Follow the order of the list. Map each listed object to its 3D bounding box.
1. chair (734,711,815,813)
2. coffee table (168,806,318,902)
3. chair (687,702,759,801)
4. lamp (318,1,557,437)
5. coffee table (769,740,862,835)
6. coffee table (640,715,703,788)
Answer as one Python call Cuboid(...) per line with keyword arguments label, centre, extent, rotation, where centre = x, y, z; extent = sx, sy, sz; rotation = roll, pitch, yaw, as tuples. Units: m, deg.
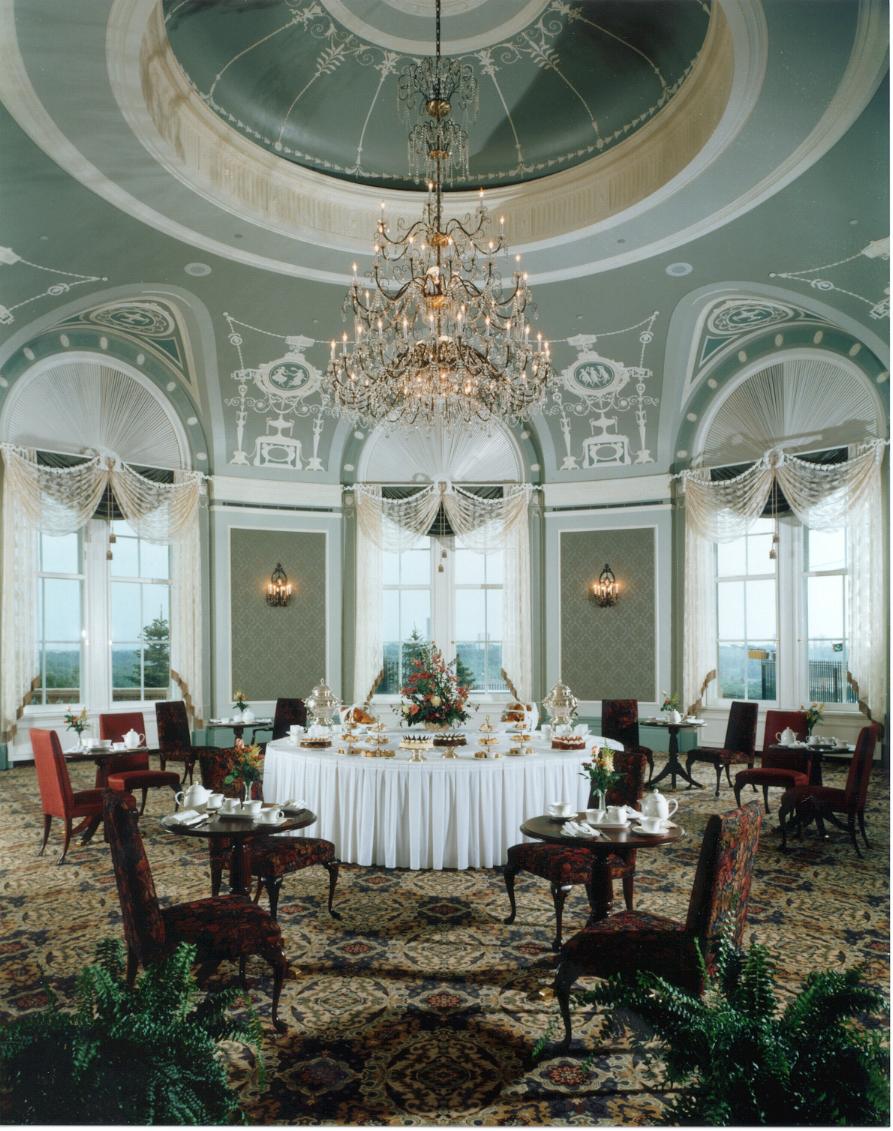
Cuboid(label="chair", centre=(2.737, 1.652, 7.061), extent=(0.583, 0.834, 0.517), rotation=(3, -5, -31))
Cuboid(label="coffee table", centre=(-0.974, 1.452, 4.140), extent=(0.614, 0.416, 0.615), rotation=(3, 5, 11))
Cuboid(label="chair", centre=(2.626, 1.696, 8.049), extent=(0.553, 0.826, 0.527), rotation=(4, -6, -8))
Cuboid(label="lamp", centre=(-0.054, -2.224, 6.826), extent=(1.646, 2.504, 3.457), rotation=(0, -5, -1))
Cuboid(label="coffee table", centre=(2.704, 1.548, 6.133), extent=(0.542, 0.719, 0.448), rotation=(2, -3, 23))
Cuboid(label="coffee table", centre=(2.242, 1.843, 8.437), extent=(0.523, 0.536, 0.502), rotation=(0, -4, -16))
